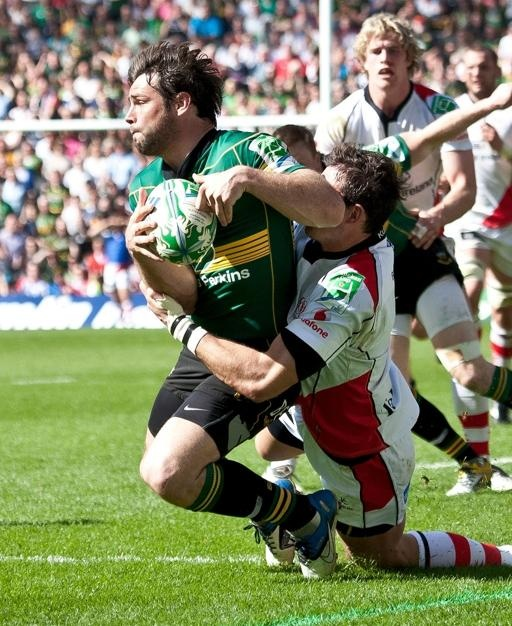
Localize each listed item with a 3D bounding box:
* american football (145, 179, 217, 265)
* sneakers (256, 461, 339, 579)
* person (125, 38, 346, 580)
[{"bbox_3d":[-0.249,-0.276,2.269,0.258,0.215,0.292,-13,18,-6],"label":"american football"},{"bbox_3d":[0.166,0.720,2.465,0.229,0.436,0.166,-24,34,-33],"label":"sneakers"},{"bbox_3d":[-0.093,-0.026,2.371,0.777,1.747,0.676,-2,-4,10],"label":"person"}]
